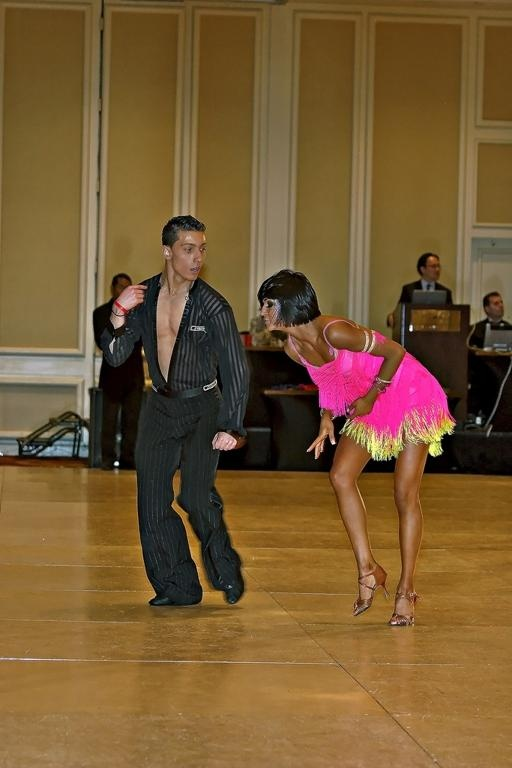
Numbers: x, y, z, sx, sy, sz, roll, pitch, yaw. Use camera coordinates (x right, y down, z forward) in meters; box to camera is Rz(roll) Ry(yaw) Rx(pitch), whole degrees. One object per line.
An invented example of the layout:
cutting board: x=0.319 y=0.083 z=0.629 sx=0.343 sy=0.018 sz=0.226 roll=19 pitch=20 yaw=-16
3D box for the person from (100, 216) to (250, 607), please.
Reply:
person: x=-0.254 y=0.107 z=2.386 sx=0.538 sy=1.277 sz=0.399 roll=3 pitch=-4 yaw=-9

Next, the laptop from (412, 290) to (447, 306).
laptop: x=1.568 y=-0.772 z=6.432 sx=0.239 sy=0.152 sz=0.153 roll=0 pitch=9 yaw=4

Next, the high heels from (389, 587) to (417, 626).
high heels: x=0.459 y=0.705 z=2.223 sx=0.055 sy=0.055 sz=0.148 roll=-3 pitch=-5 yaw=13

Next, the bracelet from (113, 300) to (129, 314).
bracelet: x=-0.414 y=-0.240 z=2.234 sx=0.046 sy=0.040 sz=0.043 roll=4 pitch=-20 yaw=5

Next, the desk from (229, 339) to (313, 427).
desk: x=0.083 y=-0.020 z=7.366 sx=0.988 sy=1.212 sz=0.709 roll=0 pitch=-1 yaw=-18

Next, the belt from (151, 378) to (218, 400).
belt: x=-0.235 y=0.014 z=2.393 sx=0.220 sy=0.073 sz=0.146 roll=3 pitch=-4 yaw=-8

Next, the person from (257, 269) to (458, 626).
person: x=0.318 y=0.208 z=2.300 sx=0.553 sy=1.100 sz=0.611 roll=1 pitch=-5 yaw=21

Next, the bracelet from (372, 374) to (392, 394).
bracelet: x=0.388 y=0.000 z=2.212 sx=0.063 sy=0.052 sz=0.047 roll=-8 pitch=10 yaw=-1

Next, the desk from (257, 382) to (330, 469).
desk: x=0.330 y=0.435 z=6.800 sx=0.982 sy=0.907 sz=0.645 roll=-1 pitch=-9 yaw=-2
